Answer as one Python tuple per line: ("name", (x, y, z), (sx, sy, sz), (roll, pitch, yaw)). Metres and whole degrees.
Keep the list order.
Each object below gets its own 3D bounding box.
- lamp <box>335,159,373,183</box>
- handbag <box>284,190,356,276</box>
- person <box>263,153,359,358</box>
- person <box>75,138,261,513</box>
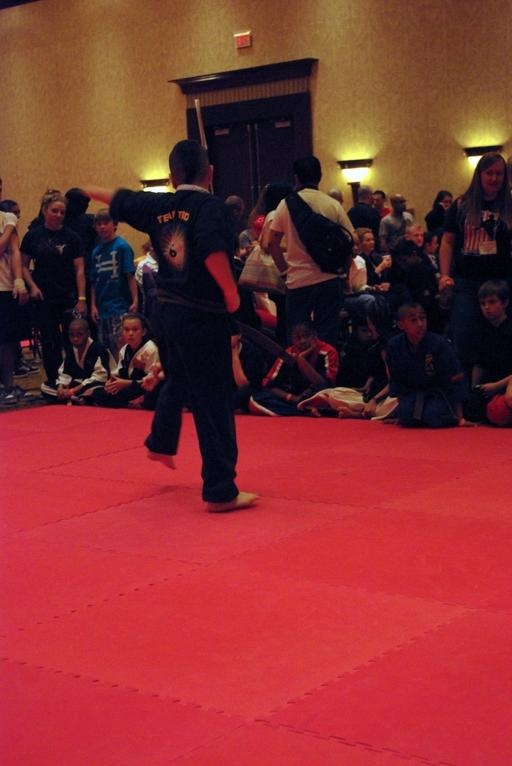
("lamp", (1.669, -3.605, 11.259), (0.543, 0.353, 0.424), (2, 7, 19))
("handbag", (0.523, -1.190, 5.494), (0.727, 0.435, 0.671), (14, -6, 32))
("person", (0.530, -1.014, 5.841), (0.761, 1.819, 0.632), (14, 37, 23))
("person", (-0.325, -0.238, 3.117), (0.731, 1.764, 0.392), (-4, 8, 30))
